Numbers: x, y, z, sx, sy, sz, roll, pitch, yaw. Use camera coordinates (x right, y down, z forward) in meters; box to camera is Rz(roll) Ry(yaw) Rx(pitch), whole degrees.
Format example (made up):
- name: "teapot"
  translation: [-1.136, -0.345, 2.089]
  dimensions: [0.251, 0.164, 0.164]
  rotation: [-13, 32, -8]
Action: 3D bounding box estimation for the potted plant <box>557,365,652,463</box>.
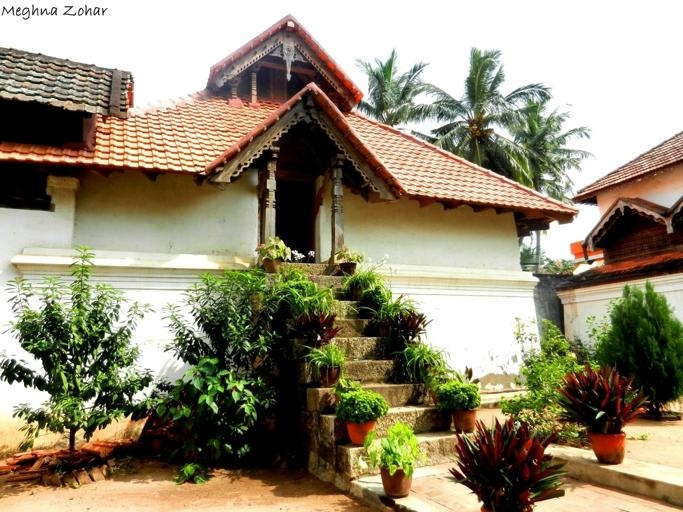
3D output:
- name: "potted plant"
  translation: [3.573, 2.203, 7.085]
  dimensions: [1.057, 1.192, 1.022]
  rotation: [-8, -18, 36]
